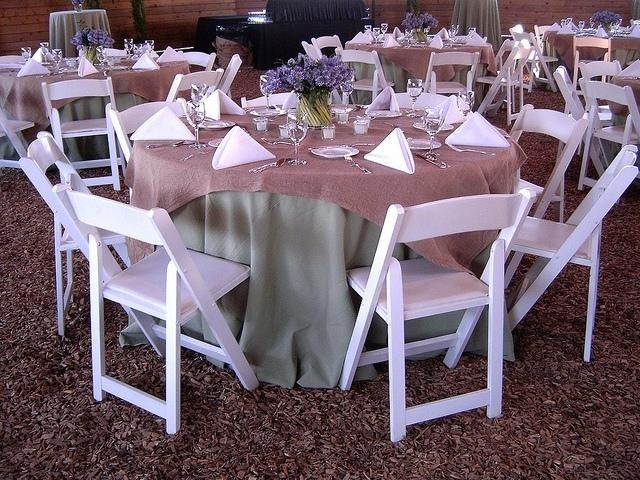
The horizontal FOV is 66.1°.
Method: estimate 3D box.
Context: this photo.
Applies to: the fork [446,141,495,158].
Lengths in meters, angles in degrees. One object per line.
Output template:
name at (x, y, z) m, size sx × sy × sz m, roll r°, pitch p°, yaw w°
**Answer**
fork at (0.733, -0.439, 2.378) m, size 0.228 × 0.036 × 0.045 m, roll 16°, pitch 65°, yaw 1°
